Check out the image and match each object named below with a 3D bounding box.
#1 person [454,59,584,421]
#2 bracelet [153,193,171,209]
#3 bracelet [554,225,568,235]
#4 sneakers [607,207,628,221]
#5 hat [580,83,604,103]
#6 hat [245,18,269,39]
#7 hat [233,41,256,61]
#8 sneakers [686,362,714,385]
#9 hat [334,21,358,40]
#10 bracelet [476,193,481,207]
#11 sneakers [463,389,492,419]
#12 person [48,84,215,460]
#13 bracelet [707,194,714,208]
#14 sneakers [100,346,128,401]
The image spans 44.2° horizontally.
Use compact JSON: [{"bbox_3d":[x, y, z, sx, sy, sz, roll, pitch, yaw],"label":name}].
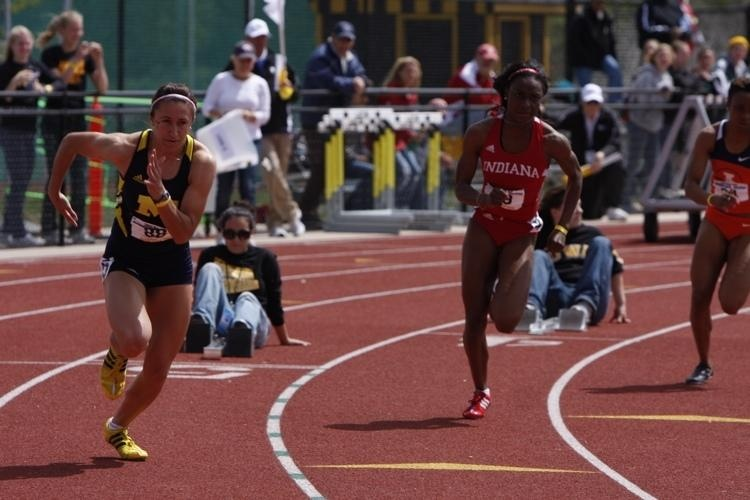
[{"bbox_3d":[0.976,-0.062,6.421,0.820,2.454,0.536,0,8,-2],"label":"person"},{"bbox_3d":[-1.196,-0.278,5.195,0.071,0.091,0.051,6,-4,-4],"label":"bracelet"},{"bbox_3d":[1.311,-0.145,6.485,0.069,0.027,0.071,42,16,30],"label":"bracelet"},{"bbox_3d":[4.408,-0.669,16.740,0.377,0.241,0.211,-5,14,-1],"label":"sneakers"},{"bbox_3d":[3.694,-2.671,15.736,0.362,0.324,0.696,2,8,11],"label":"hat"},{"bbox_3d":[-1.709,-3.160,13.260,0.345,0.250,0.469,-3,10,-14],"label":"hat"},{"bbox_3d":[-1.805,-2.769,12.830,0.327,0.280,0.284,-2,8,-18],"label":"hat"},{"bbox_3d":[2.557,0.968,7.229,0.114,0.110,0.253,4,4,41],"label":"sneakers"},{"bbox_3d":[-0.459,-3.170,13.370,0.305,0.299,0.724,0,8,-4],"label":"hat"},{"bbox_3d":[0.699,-0.351,6.199,0.024,0.063,0.047,7,-5,2],"label":"bracelet"},{"bbox_3d":[0.734,1.082,6.508,0.103,0.123,0.289,2,12,26],"label":"sneakers"},{"bbox_3d":[-1.451,0.125,5.675,0.975,2.261,0.564,7,10,38],"label":"person"},{"bbox_3d":[2.562,-0.380,7.028,0.023,0.075,0.046,8,-5,-44],"label":"bracelet"},{"bbox_3d":[-1.668,0.787,5.828,0.138,0.392,0.169,-3,8,-29],"label":"sneakers"}]
